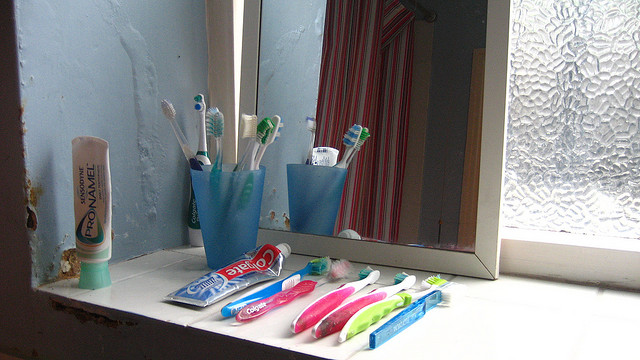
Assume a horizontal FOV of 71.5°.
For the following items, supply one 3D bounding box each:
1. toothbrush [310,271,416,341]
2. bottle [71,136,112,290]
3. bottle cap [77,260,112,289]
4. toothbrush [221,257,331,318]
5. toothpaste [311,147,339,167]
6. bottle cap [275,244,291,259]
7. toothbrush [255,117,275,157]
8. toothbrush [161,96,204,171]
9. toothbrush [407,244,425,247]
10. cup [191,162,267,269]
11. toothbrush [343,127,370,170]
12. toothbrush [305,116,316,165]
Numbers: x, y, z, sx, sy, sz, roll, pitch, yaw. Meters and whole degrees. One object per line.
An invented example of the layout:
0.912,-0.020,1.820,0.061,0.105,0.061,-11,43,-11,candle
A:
0.089,0.262,0.912,0.230,0.025,0.038,-18,47,-39,toothbrush
-0.501,0.073,0.969,0.085,0.332,0.032,4,8,9,bottle
-0.505,0.203,1.005,0.072,0.072,0.071,4,7,39,bottle cap
-0.073,0.236,0.988,0.058,0.053,0.334,35,28,22,toothbrush
0.011,-0.061,1.156,0.058,0.039,0.054,3,-1,-1,toothpaste
-0.087,0.175,1.092,0.035,0.028,0.031,-3,4,20,bottle cap
-0.133,-0.105,1.070,0.045,0.088,0.024,2,8,-8,toothbrush
-0.360,-0.120,1.150,0.026,0.219,0.023,-24,13,7,toothbrush
0.236,0.160,1.090,0.037,0.006,0.004,8,6,17,toothbrush
-0.244,0.102,1.138,0.212,0.234,0.189,0,7,7,cup
0.083,-0.079,1.125,0.031,0.113,0.020,33,6,-6,toothbrush
-0.029,-0.104,1.167,0.032,0.125,0.020,4,8,9,toothbrush
